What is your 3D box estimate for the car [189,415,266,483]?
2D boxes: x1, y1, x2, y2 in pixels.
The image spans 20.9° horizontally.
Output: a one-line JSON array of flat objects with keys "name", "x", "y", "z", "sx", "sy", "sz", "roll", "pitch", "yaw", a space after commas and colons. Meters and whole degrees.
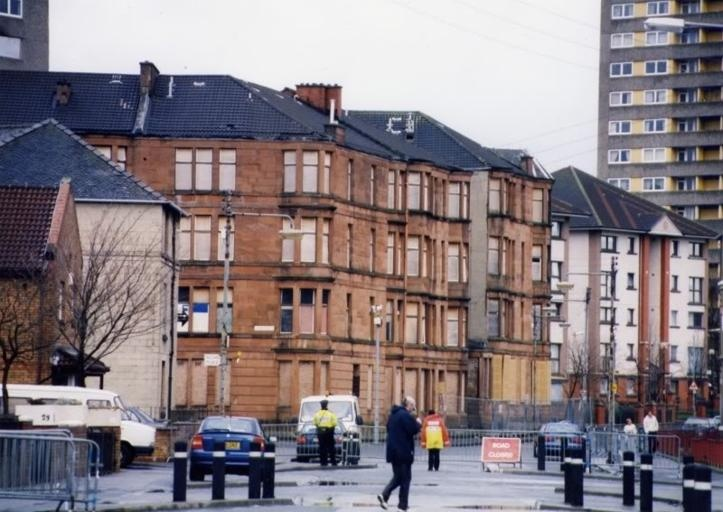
[{"name": "car", "x": -5.668, "y": 7.564, "z": 81.361, "sx": 3.141, "sy": 2.223, "sz": 6.802, "roll": 2, "pitch": 2, "yaw": -4}]

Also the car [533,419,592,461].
[{"name": "car", "x": 9.814, "y": 9.003, "z": 96.259, "sx": 2.105, "sy": 1.576, "sz": 4.878, "roll": 1, "pitch": -1, "yaw": 2}]

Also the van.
[{"name": "van", "x": -1.476, "y": 7.811, "z": 90.334, "sx": 3.295, "sy": 3.091, "sz": 5.693, "roll": -1, "pitch": 3, "yaw": 4}]
